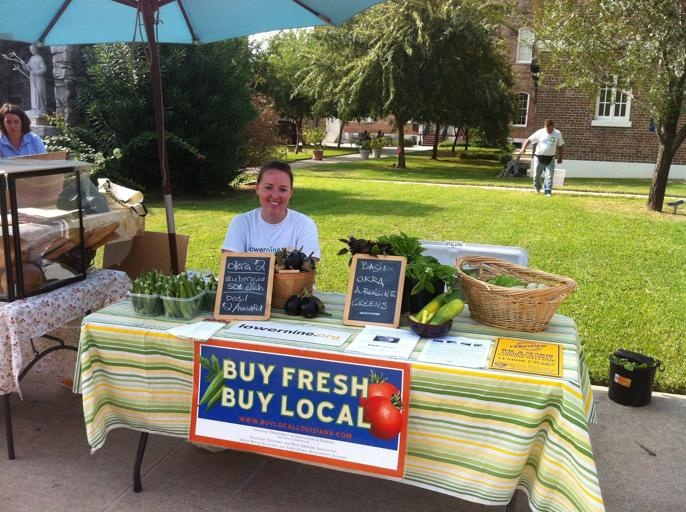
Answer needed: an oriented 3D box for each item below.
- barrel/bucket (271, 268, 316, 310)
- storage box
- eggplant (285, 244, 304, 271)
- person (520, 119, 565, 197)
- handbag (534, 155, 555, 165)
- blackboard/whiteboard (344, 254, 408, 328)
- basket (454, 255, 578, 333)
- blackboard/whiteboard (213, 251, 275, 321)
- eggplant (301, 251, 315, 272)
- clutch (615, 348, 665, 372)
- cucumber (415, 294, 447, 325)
[{"bbox_3d":[-0.301,0.182,3.173,0.239,0.239,0.228,6,12,-1],"label":"barrel/bucket"},{"bbox_3d":[-1.058,0.218,3.122,0.408,0.242,0.305,5,12,29],"label":"storage box"},{"bbox_3d":[-0.295,0.009,3.029,0.089,0.124,0.057,-4,-21,-14],"label":"eggplant"},{"bbox_3d":[5.925,-2.910,14.768,1.029,3.287,1.591,1,2,19],"label":"person"},{"bbox_3d":[5.778,-2.755,14.472,0.508,0.272,0.303,3,12,7],"label":"handbag"},{"bbox_3d":[0.192,0.205,2.926,0.352,0.435,0.018,7,-6,15],"label":"blackboard/whiteboard"},{"bbox_3d":[0.956,0.162,3.102,0.680,0.457,0.705,12,11,12],"label":"basket"},{"bbox_3d":[-0.588,0.188,3.022,0.381,0.471,0.018,2,-15,5],"label":"blackboard/whiteboard"},{"bbox_3d":[-0.219,0.038,3.115,0.055,0.086,0.124,0,13,-8],"label":"eggplant"},{"bbox_3d":[2.499,0.912,4.341,0.361,0.073,0.323,12,16,39],"label":"clutch"},{"bbox_3d":[0.494,0.287,2.863,0.081,0.079,0.299,26,51,30],"label":"cucumber"}]
